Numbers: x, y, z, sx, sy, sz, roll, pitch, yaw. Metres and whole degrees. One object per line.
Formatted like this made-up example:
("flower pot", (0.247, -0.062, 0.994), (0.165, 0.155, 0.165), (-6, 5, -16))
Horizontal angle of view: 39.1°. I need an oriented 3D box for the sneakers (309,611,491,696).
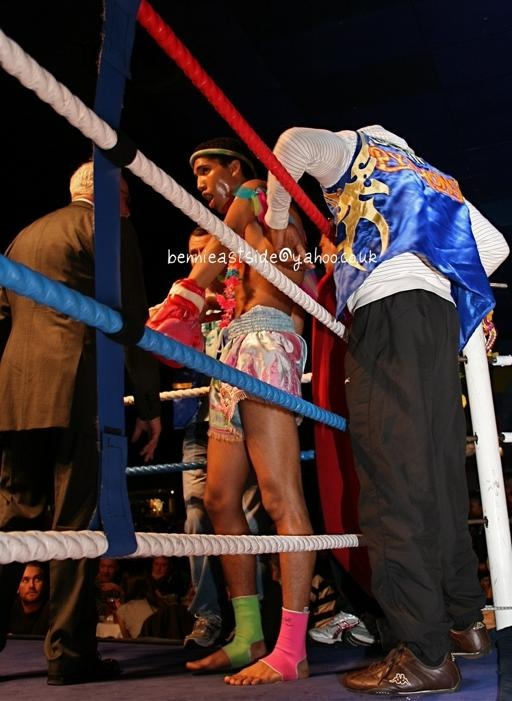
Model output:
("sneakers", (0.315, 0.635, 1.491), (0.419, 0.134, 0.125), (-6, -32, 4))
